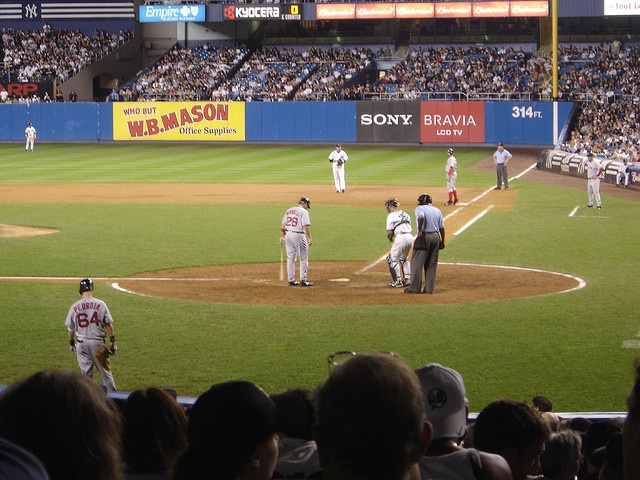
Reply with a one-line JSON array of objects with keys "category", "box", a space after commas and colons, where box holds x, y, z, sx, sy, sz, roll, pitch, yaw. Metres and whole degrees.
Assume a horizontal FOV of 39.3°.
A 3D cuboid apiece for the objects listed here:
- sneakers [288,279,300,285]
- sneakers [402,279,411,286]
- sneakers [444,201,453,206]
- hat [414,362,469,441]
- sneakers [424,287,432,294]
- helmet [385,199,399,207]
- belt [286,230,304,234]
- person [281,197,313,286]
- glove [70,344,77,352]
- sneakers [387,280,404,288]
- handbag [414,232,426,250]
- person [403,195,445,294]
[{"category": "sneakers", "box": [-0.546, 0.879, 18.639, 0.231, 0.111, 0.334, -1, 6, -7]}, {"category": "sneakers", "box": [1.785, 0.889, 18.610, 0.132, 0.182, 0.408, -2, -1, 10]}, {"category": "sneakers", "box": [4.383, -1.242, 30.700, 0.090, 0.128, 0.263, -6, 8, -42]}, {"category": "hat", "box": [0.877, 1.168, 6.557, 0.383, 0.310, 0.653, -3, 28, 5]}, {"category": "sneakers", "box": [2.159, 1.010, 17.862, 0.199, 0.103, 0.262, 1, 6, 7]}, {"category": "helmet", "box": [1.524, -0.771, 18.887, 0.197, 0.149, 0.278, 1, 4, -3]}, {"category": "belt", "box": [-0.512, -0.162, 18.708, 0.353, 0.085, 0.133, -1, 6, -6]}, {"category": "person", "box": [-0.496, 0.008, 19.024, 0.650, 1.766, 1.470, 0, 6, -3]}, {"category": "glove", "box": [-3.434, 1.508, 12.504, 0.124, 0.128, 0.074, 0, 10, -9]}, {"category": "sneakers", "box": [1.547, 0.879, 18.481, 0.363, 0.240, 0.137, 2, 23, 5]}, {"category": "handbag", "box": [1.968, 0.045, 17.765, 0.308, 0.347, 0.130, 5, 8, 40]}, {"category": "person", "box": [2.114, 0.083, 17.997, 0.718, 1.921, 0.770, 1, 6, 13]}]
